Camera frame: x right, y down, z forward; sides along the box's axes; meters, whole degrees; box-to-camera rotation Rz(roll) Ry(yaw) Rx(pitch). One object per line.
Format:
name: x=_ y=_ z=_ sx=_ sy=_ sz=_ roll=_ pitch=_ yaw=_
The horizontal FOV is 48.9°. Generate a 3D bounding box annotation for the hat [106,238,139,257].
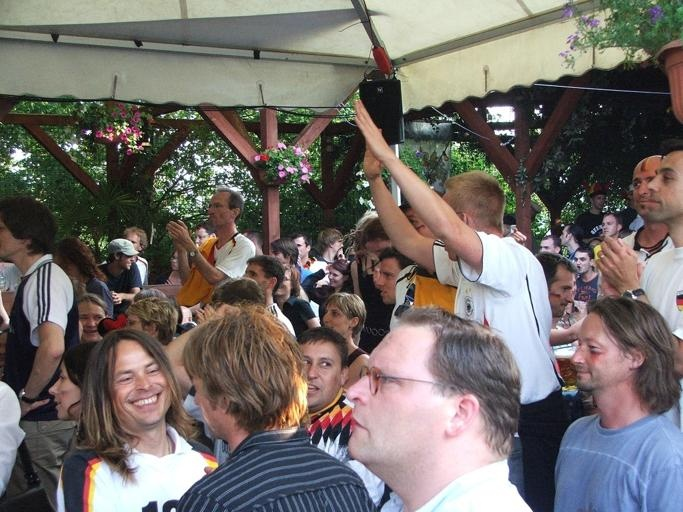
hat: x=-2.171 y=-0.080 z=7.387 sx=0.263 sy=0.129 sz=0.177 roll=-1 pitch=11 yaw=-16

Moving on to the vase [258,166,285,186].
vase: x=-0.690 y=-0.784 z=7.368 sx=0.163 sy=0.094 sz=0.212 roll=0 pitch=-2 yaw=-17

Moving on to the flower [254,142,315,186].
flower: x=-0.565 y=-0.923 z=7.411 sx=0.435 sy=0.308 sz=0.437 roll=16 pitch=27 yaw=29
